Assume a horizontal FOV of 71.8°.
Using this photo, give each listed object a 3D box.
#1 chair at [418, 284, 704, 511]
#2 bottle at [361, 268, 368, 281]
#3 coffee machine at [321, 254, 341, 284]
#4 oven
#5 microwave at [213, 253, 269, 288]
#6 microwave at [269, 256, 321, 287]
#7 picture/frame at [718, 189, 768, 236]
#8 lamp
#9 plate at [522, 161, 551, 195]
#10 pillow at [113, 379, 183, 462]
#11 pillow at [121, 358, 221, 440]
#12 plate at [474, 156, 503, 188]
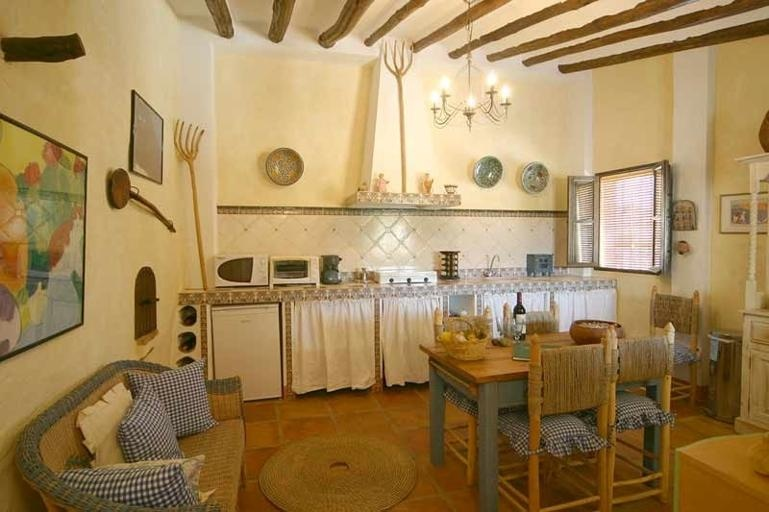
[{"bbox_3d":[1.498,1.278,4.437,2.115,1.420,1.111,-2,1,-20],"label":"chair"},{"bbox_3d":[-0.241,0.238,6.465,0.084,0.167,0.291,-2,0,-2],"label":"bottle"},{"bbox_3d":[-0.646,0.178,6.298,0.254,0.343,0.319,1,-5,-25],"label":"coffee machine"},{"bbox_3d":[-1.589,1.230,5.938,0.754,1.033,0.691,4,-33,-20],"label":"oven"},{"bbox_3d":[-1.575,0.172,5.873,0.568,0.370,0.355,0,-1,-15],"label":"microwave"},{"bbox_3d":[-1.027,0.178,6.030,0.527,0.337,0.317,0,-1,-17],"label":"microwave"},{"bbox_3d":[3.770,-0.456,5.549,0.015,0.391,0.541,-1,0,-22],"label":"picture/frame"},{"bbox_3d":[1.010,-2.356,6.459,0.939,1.717,1.121,8,13,43],"label":"lamp"},{"bbox_3d":[2.088,-1.075,7.332,0.466,0.437,0.094,-2,1,-23],"label":"plate"},{"bbox_3d":[-1.699,1.190,3.920,0.352,0.689,0.591,-13,-2,-21],"label":"pillow"},{"bbox_3d":[-1.629,1.114,4.026,0.587,0.289,0.499,-3,39,-41],"label":"pillow"},{"bbox_3d":[1.378,-1.125,7.115,0.427,0.428,0.094,-2,1,-26],"label":"plate"}]
